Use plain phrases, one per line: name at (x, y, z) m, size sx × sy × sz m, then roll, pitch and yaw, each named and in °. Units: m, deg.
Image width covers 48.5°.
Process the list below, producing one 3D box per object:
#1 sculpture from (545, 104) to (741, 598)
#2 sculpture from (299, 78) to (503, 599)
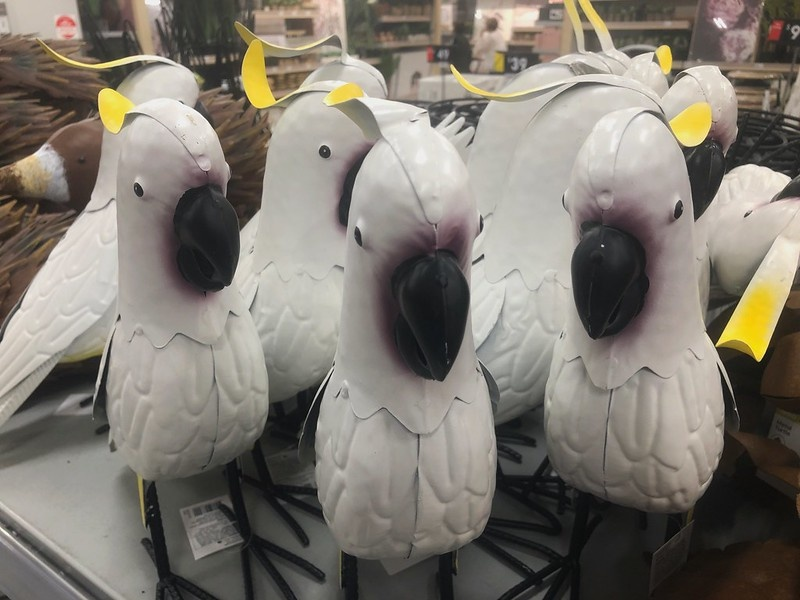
sculpture at (0.352, 0.023, 1.307) m, size 0.261 × 0.555 × 0.165 m, roll 3°, pitch 24°, yaw 12°
sculpture at (-0.011, 0.039, 1.272) m, size 0.294 × 0.624 × 0.227 m, roll 1°, pitch 24°, yaw 7°
